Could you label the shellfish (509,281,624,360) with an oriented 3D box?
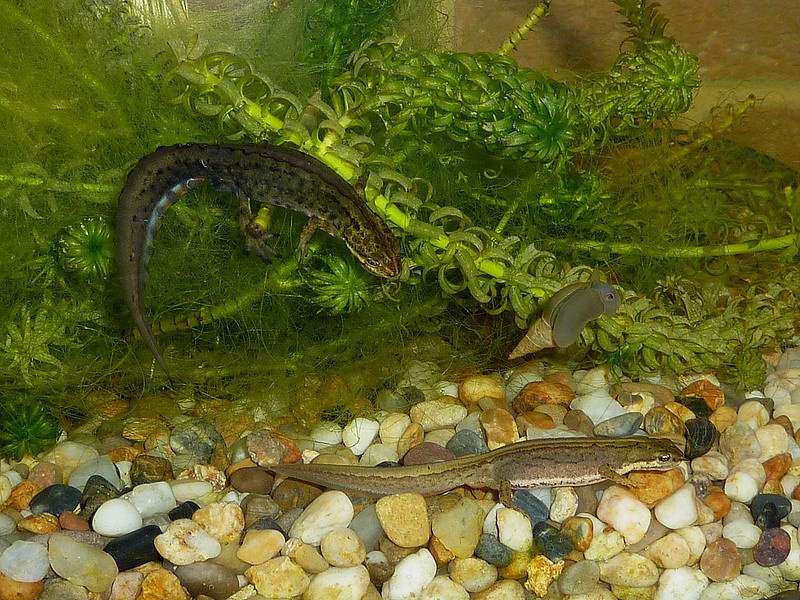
[{"bbox_3d":[0.809,0.057,4.027,0.520,0.203,0.257,-39,108,1],"label":"shellfish"}]
